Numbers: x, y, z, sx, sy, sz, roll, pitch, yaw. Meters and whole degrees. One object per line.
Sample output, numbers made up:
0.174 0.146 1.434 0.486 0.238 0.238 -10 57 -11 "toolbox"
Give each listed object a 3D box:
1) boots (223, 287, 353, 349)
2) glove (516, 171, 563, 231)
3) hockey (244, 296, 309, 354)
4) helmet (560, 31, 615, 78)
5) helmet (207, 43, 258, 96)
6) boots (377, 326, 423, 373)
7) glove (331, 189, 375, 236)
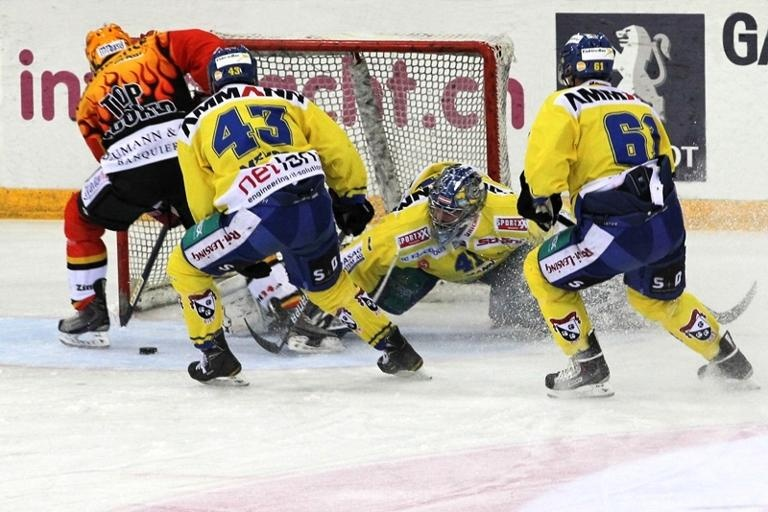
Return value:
-0.640 0.417 6.718 0.507 0.197 0.549 -10 6 -42 "boots"
0.901 -0.306 5.658 0.222 0.298 0.126 42 20 30 "glove"
-0.662 0.420 6.674 0.120 0.373 0.391 42 18 -5 "hockey"
1.161 -1.144 5.792 0.250 0.252 0.288 -1 19 -9 "helmet"
-0.844 -1.047 5.759 0.242 0.268 0.282 -3 8 -7 "helmet"
0.090 0.550 5.987 0.257 0.309 0.111 -2 9 -2 "boots"
-0.185 -0.259 6.051 0.245 0.287 0.215 -3 9 -6 "glove"
